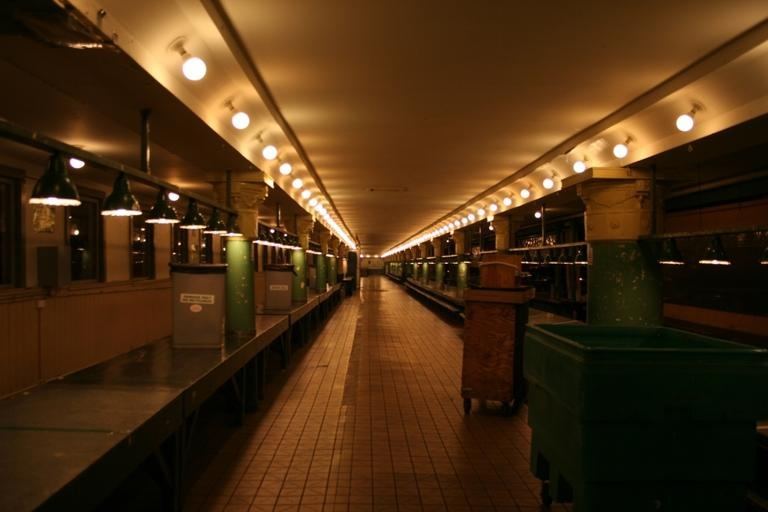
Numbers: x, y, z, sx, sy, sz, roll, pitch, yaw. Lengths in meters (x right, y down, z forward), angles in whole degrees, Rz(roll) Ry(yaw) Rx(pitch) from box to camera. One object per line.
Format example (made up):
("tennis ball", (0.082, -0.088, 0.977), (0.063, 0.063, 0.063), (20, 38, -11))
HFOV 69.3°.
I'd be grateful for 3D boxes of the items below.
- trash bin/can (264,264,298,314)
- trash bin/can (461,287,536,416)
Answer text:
("trash bin/can", (-1.819, 0.572, 9.453), (0.645, 1.038, 0.673), (1, -2, 0))
("trash bin/can", (1.424, 1.190, 8.023), (1.276, 2.237, 1.308), (1, -4, 9))
